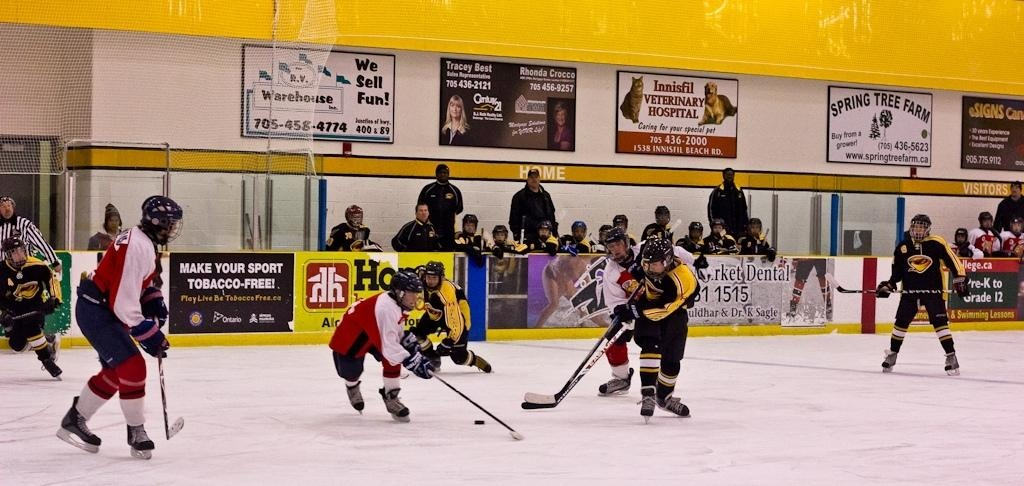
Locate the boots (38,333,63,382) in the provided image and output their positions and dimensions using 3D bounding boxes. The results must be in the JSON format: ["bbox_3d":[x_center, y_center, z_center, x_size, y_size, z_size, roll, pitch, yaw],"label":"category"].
[{"bbox_3d":[-8.007,1.979,20.360,0.273,0.696,0.528,-13,-21,4],"label":"boots"}]

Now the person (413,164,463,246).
[{"bbox_3d":[-1.426,-0.782,24.354,0.912,1.931,0.539,7,43,2],"label":"person"}]

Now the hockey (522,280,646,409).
[{"bbox_3d":[1.239,1.811,20.822,2.796,0.368,0.412,-47,17,-27],"label":"hockey"}]

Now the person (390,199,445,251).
[{"bbox_3d":[-1.861,-0.304,23.760,1.303,1.041,0.644,-5,10,-41],"label":"person"}]

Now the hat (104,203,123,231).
[{"bbox_3d":[-7.618,-0.480,22.476,0.477,0.464,0.547,-5,-2,-17],"label":"hat"}]

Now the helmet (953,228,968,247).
[{"bbox_3d":[9.904,-0.145,25.592,0.365,0.405,0.458,-1,-4,24],"label":"helmet"}]

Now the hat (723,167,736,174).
[{"bbox_3d":[4.604,-1.499,24.760,0.239,0.200,0.269,0,-14,2],"label":"hat"}]

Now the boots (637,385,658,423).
[{"bbox_3d":[2.172,2.525,18.739,0.268,0.516,0.253,-1,-10,14],"label":"boots"}]

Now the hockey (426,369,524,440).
[{"bbox_3d":[-0.606,2.654,19.192,1.619,0.159,0.161,35,-38,0],"label":"hockey"}]

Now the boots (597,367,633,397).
[{"bbox_3d":[1.766,2.397,19.820,0.832,0.442,0.272,0,5,-8],"label":"boots"}]

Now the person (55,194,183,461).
[{"bbox_3d":[-5.908,1.245,17.861,1.594,3.938,0.811,0,2,-19],"label":"person"}]

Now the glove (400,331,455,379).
[{"bbox_3d":[-1.599,1.831,18.776,0.661,0.846,0.336,13,-55,-46],"label":"glove"}]

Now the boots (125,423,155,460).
[{"bbox_3d":[-5.595,2.970,17.682,0.264,0.334,0.723,-1,11,-28],"label":"boots"}]

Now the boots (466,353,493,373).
[{"bbox_3d":[-0.573,2.127,20.715,0.257,0.189,0.603,-36,-43,17],"label":"boots"}]

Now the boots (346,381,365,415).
[{"bbox_3d":[-2.517,2.463,19.023,0.213,0.552,0.250,-20,8,-17],"label":"boots"}]

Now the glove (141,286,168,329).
[{"bbox_3d":[-5.397,0.945,18.012,0.471,0.550,0.222,-1,9,25],"label":"glove"}]

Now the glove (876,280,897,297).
[{"bbox_3d":[6.968,0.821,21.794,0.291,0.259,0.379,-6,-18,39],"label":"glove"}]

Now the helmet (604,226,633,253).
[{"bbox_3d":[1.721,-0.081,19.275,0.372,0.357,0.420,-14,-24,14],"label":"helmet"}]

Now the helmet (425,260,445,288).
[{"bbox_3d":[-1.336,0.521,20.368,0.398,0.412,0.442,6,10,0],"label":"helmet"}]

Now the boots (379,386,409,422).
[{"bbox_3d":[-1.874,2.554,18.819,0.502,0.510,0.251,1,1,6],"label":"boots"}]

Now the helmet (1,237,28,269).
[{"bbox_3d":[-8.865,0.170,20.550,0.437,0.481,0.529,-10,-1,-34],"label":"helmet"}]

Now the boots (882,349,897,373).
[{"bbox_3d":[6.846,2.102,21.298,0.260,0.382,0.399,1,1,15],"label":"boots"}]

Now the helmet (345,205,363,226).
[{"bbox_3d":[-3.081,-0.559,23.345,0.398,0.383,0.442,2,-11,-23],"label":"helmet"}]

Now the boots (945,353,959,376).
[{"bbox_3d":[7.955,2.142,21.143,0.308,0.386,0.240,0,1,0],"label":"boots"}]

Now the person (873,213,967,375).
[{"bbox_3d":[7.492,0.886,21.516,1.514,2.854,1.101,1,2,14],"label":"person"}]

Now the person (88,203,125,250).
[{"bbox_3d":[-7.533,-0.310,21.732,0.528,0.835,0.989,4,6,44],"label":"person"}]

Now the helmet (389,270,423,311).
[{"bbox_3d":[-1.692,0.747,18.698,0.502,0.608,0.234,0,2,-8],"label":"helmet"}]

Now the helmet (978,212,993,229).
[{"bbox_3d":[10.679,-0.529,26.184,0.395,0.384,0.454,-2,-5,5],"label":"helmet"}]

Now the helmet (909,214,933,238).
[{"bbox_3d":[7.422,-0.334,21.596,0.492,0.532,0.603,0,1,26],"label":"helmet"}]

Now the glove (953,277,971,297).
[{"bbox_3d":[8.618,0.812,22.480,0.326,0.364,0.383,-8,22,7],"label":"glove"}]

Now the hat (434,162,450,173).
[{"bbox_3d":[-1.406,-1.573,24.225,0.276,0.176,0.249,2,-9,-6],"label":"hat"}]

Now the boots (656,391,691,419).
[{"bbox_3d":[2.631,2.586,19.034,0.686,0.259,0.259,20,16,-4],"label":"boots"}]
